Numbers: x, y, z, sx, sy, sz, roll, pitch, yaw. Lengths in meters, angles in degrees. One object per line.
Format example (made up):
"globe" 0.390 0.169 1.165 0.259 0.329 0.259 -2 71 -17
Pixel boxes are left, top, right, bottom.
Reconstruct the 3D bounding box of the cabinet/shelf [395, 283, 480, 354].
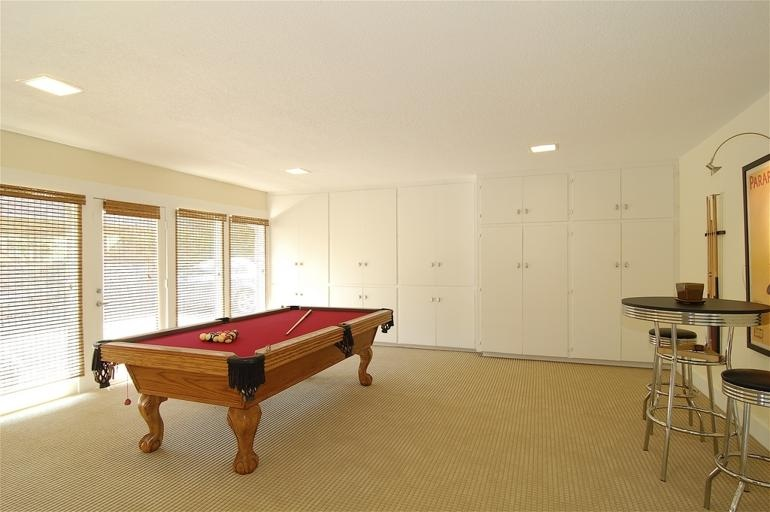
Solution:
"cabinet/shelf" 0.823 1.098 8.462 1.290 0.928 0.457 3 -20 -1

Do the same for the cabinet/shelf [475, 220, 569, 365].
"cabinet/shelf" 2.070 0.484 7.562 1.291 1.969 0.569 2 12 10

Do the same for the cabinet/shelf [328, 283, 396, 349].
"cabinet/shelf" -0.254 0.848 7.112 1.036 0.958 0.380 -2 -7 18

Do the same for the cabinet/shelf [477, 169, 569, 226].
"cabinet/shelf" 2.100 -0.857 7.778 1.302 0.726 0.422 0 4 11
